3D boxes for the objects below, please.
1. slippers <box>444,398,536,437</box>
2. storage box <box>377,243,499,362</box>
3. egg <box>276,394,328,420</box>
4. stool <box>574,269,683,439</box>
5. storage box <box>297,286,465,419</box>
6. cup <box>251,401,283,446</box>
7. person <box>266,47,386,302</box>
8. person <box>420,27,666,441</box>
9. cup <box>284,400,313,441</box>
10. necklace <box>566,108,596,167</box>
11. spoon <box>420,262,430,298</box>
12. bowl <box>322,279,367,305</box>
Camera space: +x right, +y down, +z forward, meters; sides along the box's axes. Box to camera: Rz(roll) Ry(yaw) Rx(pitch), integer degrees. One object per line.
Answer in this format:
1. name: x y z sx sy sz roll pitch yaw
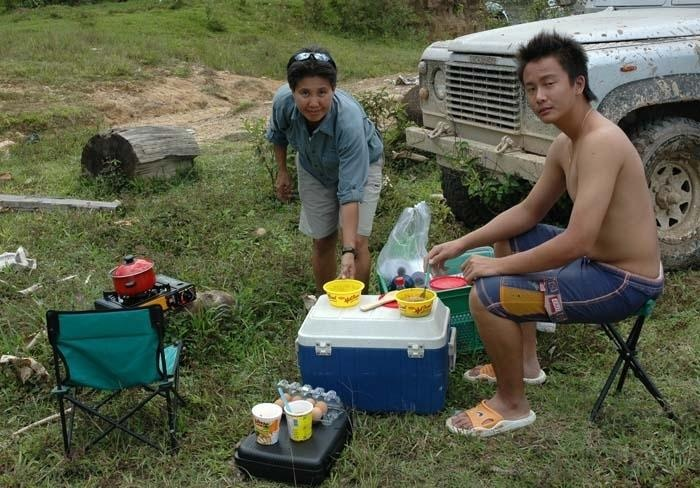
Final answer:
1. slippers: 0.926 1.155 4.221 0.564 0.179 0.232 -4 8 -7
2. storage box: 0.674 0.571 4.924 0.945 0.831 0.754 6 19 12
3. egg: -0.275 1.066 4.124 0.194 0.084 0.204 -6 9 -33
4. stool: 1.807 0.775 4.149 0.705 0.943 0.646 -1 3 12
5. storage box: 0.216 0.790 4.612 1.082 0.664 0.739 0 11 13
6. cup: -0.526 1.120 3.982 0.206 0.178 0.224 0 8 0
7. person: -0.245 -0.587 4.930 0.785 2.013 0.941 1 7 12
8. person: 1.243 -0.027 4.470 1.353 2.957 1.082 -1 8 -10
9. cup: -0.315 1.121 3.977 0.203 0.194 0.219 0 14 0
10. necklace: 1.418 -0.661 3.935 0.199 0.380 0.363 3 23 19
11. spoon: 0.519 0.244 4.356 0.052 0.342 0.051 1 -3 1
12. bowl: -0.054 0.331 4.453 0.194 0.087 0.199 -1 15 0
